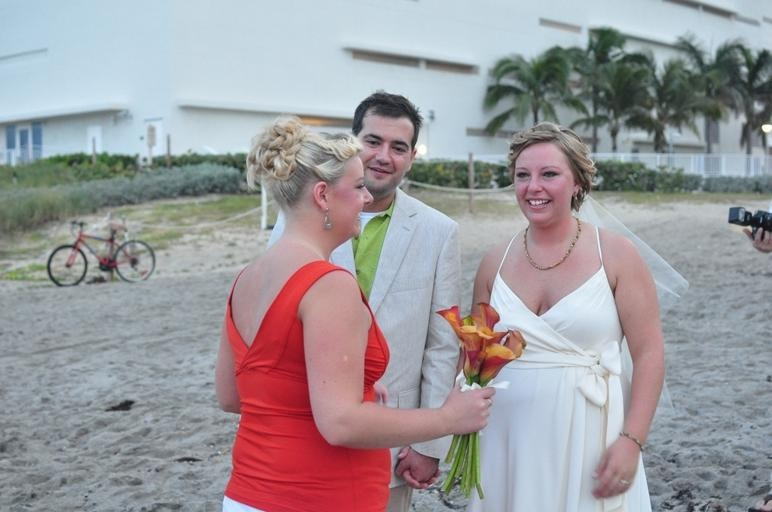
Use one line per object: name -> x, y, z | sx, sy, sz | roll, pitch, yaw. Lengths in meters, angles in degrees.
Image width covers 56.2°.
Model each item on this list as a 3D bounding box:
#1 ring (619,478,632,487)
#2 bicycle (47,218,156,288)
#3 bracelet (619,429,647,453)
ring -> 1.661, 1.581, 5.004 | 0.058, 0.024, 0.062 | 7, 1, 0
bicycle -> -2.995, 0.057, 7.584 | 1.034, 0.680, 0.411 | 0, 4, -36
bracelet -> 1.721, 1.279, 5.037 | 0.123, 0.050, 0.137 | 40, 10, -30
